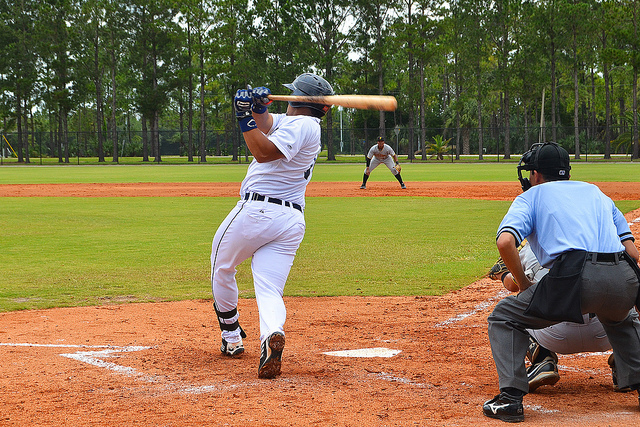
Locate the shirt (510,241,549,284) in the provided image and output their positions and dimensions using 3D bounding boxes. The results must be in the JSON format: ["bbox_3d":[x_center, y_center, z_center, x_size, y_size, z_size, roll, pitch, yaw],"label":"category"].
[{"bbox_3d":[3.265,0.774,13.264,0.543,0.596,0.715,-1,-1,5],"label":"shirt"}]

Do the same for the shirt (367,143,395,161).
[{"bbox_3d":[2.304,-2.304,32.377,0.973,0.613,0.958,0,2,4],"label":"shirt"}]

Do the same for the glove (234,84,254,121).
[{"bbox_3d":[-1.186,-1.697,13.348,0.305,0.521,0.307,0,2,-3],"label":"glove"}]

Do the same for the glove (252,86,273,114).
[{"bbox_3d":[-0.919,-1.797,13.430,0.372,0.164,0.372,3,-38,2],"label":"glove"}]

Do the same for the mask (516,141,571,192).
[{"bbox_3d":[3.290,-0.704,13.109,0.713,0.676,0.870,-3,-10,-14],"label":"mask"}]

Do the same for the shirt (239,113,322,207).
[{"bbox_3d":[-0.572,-0.838,13.481,1.146,1.441,0.429,0,2,-5],"label":"shirt"}]
